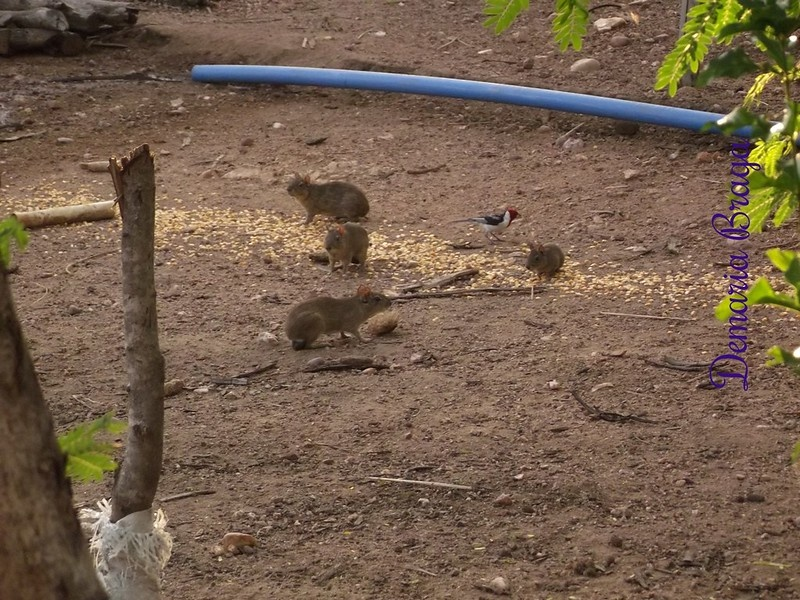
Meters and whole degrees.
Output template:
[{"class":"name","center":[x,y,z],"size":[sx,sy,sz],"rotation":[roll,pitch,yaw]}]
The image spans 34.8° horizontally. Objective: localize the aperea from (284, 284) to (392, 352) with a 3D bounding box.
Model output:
[{"class":"aperea","center":[-0.514,0.146,10.515],"size":[1.097,0.406,0.389],"rotation":[-7,21,-22]}]

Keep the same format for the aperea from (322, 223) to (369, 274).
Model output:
[{"class":"aperea","center":[-0.542,-0.490,11.843],"size":[0.384,0.391,0.684],"rotation":[2,8,17]}]

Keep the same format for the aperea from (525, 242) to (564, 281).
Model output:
[{"class":"aperea","center":[1.282,-0.363,11.274],"size":[0.309,0.336,0.332],"rotation":[5,21,5]}]

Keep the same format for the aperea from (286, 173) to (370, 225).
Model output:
[{"class":"aperea","center":[-0.711,-1.031,12.865],"size":[0.787,0.512,0.264],"rotation":[4,24,2]}]

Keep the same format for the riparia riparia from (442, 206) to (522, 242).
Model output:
[{"class":"riparia riparia","center":[0.922,-0.756,12.359],"size":[0.918,0.319,0.261],"rotation":[5,14,8]}]

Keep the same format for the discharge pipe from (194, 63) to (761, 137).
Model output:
[{"class":"discharge pipe","center":[0.615,-2.490,14.850],"size":[6.522,0.209,0.215],"rotation":[9,63,9]}]
